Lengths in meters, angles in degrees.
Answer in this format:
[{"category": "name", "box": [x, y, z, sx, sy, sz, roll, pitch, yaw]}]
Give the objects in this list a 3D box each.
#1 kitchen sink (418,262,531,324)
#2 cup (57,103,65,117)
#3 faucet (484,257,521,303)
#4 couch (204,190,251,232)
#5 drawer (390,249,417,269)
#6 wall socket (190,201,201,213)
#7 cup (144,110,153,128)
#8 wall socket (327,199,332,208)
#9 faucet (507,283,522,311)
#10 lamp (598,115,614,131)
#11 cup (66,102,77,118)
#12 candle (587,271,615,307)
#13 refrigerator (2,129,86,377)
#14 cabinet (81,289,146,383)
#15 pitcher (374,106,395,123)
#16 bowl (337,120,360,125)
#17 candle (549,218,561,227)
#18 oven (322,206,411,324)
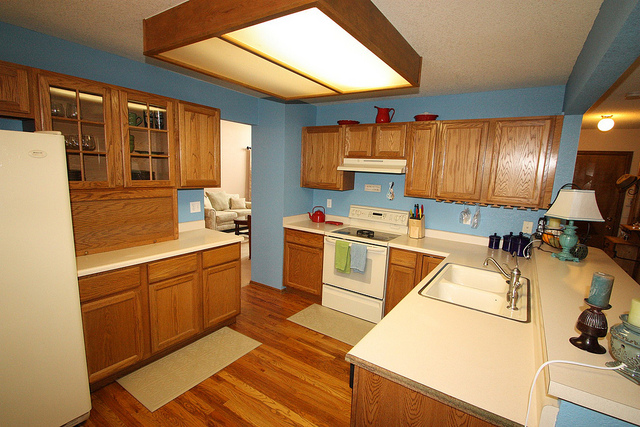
[{"category": "kitchen sink", "box": [1.307, 0.683, 3.274, 0.845, 0.176, 0.980, 8, 12, 27]}, {"category": "cup", "box": [-2.263, -0.910, 3.393, 0.057, 0.109, 0.034, -8, 15, -38]}, {"category": "faucet", "box": [1.513, 0.536, 3.250, 0.294, 0.291, 0.343, 6, 9, 21]}, {"category": "couch", "box": [-2.016, -0.087, 8.437, 0.600, 0.721, 1.414, 11, 13, 31]}, {"category": "drawer", "box": [0.937, 0.508, 4.382, 0.333, 0.190, 0.173, 7, 8, 38]}, {"category": "wall socket", "box": [-1.470, -0.086, 4.560, 0.018, 0.105, 0.131, -1, 8, 33]}, {"category": "cup", "box": [-1.697, -0.942, 3.842, 0.053, 0.170, 0.101, 4, 11, 12]}, {"category": "wall socket", "box": [0.126, -0.147, 5.588, 0.061, 0.121, 0.011, 8, 14, 31]}, {"category": "faucet", "box": [1.550, 0.656, 3.083, 0.118, 0.211, 0.069, -6, 14, -32]}, {"category": "lamp", "box": [4.020, -1.287, 5.478, 0.207, 0.210, 0.063, -48, 27, -16]}, {"category": "cup", "box": [-2.198, -0.919, 3.440, 0.088, 0.135, 0.053, -5, 13, -30]}, {"category": "candle", "box": [1.763, 0.481, 2.453, 0.111, 0.210, 0.084, 9, 14, 32]}, {"category": "refrigerator", "box": [-2.206, 0.355, 2.991, 0.499, 1.931, 0.311, -6, 14, -31]}, {"category": "cabinet", "box": [-1.960, 1.063, 3.588, 0.444, 0.661, 0.605, 10, 9, 35]}, {"category": "pitcher", "box": [0.805, -1.231, 4.855, 0.216, 0.198, 0.299, 4, 10, 12]}, {"category": "bowl", "box": [0.369, -1.193, 5.060, 0.249, 0.072, 0.247, 1, 10, 0]}, {"category": "candle", "box": [2.403, 0.089, 3.995, 0.096, 0.064, 0.092, -2, 8, 7]}, {"category": "oven", "box": [0.553, 0.605, 4.906, 0.863, 1.278, 0.729, 9, 14, 35]}]
